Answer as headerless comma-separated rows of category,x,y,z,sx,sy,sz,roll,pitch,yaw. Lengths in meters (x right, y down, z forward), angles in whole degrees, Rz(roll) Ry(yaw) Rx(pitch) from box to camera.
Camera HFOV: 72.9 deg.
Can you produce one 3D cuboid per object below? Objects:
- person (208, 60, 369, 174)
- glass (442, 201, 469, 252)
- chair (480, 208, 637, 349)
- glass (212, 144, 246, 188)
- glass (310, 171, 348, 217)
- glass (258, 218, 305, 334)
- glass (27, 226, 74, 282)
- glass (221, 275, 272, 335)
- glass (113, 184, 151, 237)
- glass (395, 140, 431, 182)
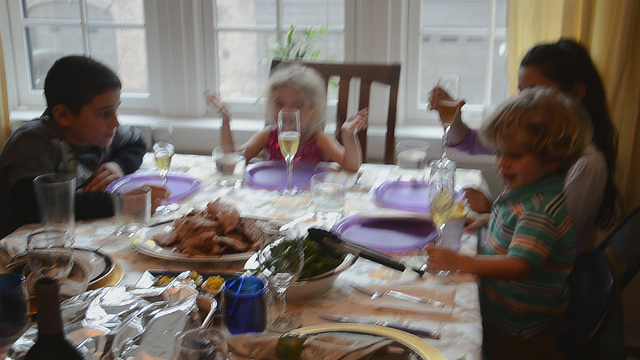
person,-0.155,-0.361,2.477,0.887,0.976,0.378,-2,-10,7
glass,0.449,0.155,1.477,0.076,0.165,0.086,3,3,12
chair,0.824,0.357,1.544,0.367,0.545,0.302,6,35,3
glass,-0.423,-0.080,2.036,0.155,0.178,0.315,-3,12,-13
glass,0.035,0.058,1.794,0.180,0.188,0.176,1,10,2
glass,-0.106,0.269,1.230,0.149,0.305,0.137,2,3,19
glass,-0.786,0.228,1.287,0.140,0.153,0.135,-10,-10,16
glass,-0.196,0.329,1.187,0.127,0.138,0.188,-1,12,-7
glass,-0.684,0.113,1.594,0.121,0.156,0.154,1,13,2
glass,0.420,-0.092,2.072,0.223,0.226,0.204,-1,15,-2
